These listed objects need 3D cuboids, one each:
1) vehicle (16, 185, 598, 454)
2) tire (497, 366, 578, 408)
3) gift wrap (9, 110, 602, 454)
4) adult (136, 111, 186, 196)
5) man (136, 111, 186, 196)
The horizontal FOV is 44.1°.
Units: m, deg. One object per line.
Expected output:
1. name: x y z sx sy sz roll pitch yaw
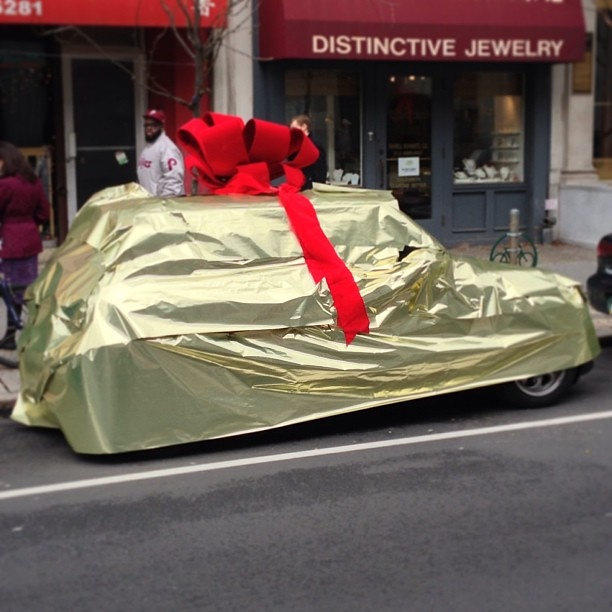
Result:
1. vehicle: -0.097 0.020 5.331 3.250 1.120 1.858 -7 15 -20
2. tire: 1.716 0.604 5.664 0.388 0.332 0.128 -4 6 -13
3. gift wrap: -0.022 -0.371 5.515 3.700 1.663 2.037 -7 20 -21
4. adult: -1.714 -1.704 8.808 0.442 1.008 1.270 -3 11 -27
5. man: -1.712 -1.721 8.819 0.445 1.025 1.273 -1 3 -27
